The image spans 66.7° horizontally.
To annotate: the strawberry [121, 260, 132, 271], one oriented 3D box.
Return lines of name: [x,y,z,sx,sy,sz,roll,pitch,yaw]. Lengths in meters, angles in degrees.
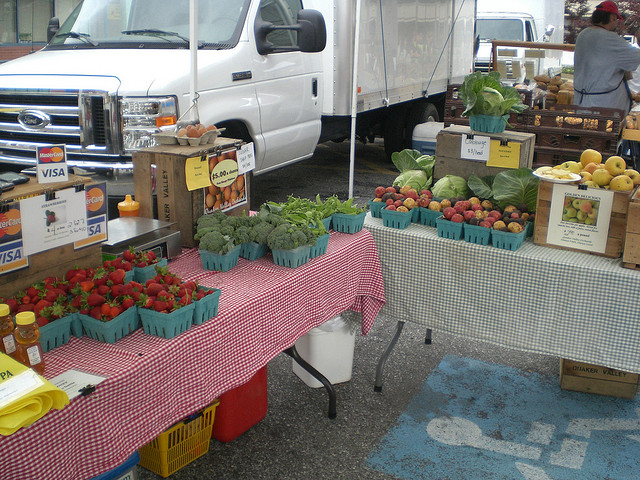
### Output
strawberry: [-0.904,0.119,2.262,0.019,0.020,0.047,2,-23,15]

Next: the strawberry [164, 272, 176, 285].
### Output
strawberry: [-0.684,0.175,2.210,0.033,0.036,0.047,3,41,2]

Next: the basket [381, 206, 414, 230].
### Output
basket: [0.515,-0.149,3.357,0.126,0.097,0.182,9,19,25]

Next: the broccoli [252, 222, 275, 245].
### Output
broccoli: [-0.325,-0.048,2.780,0.092,0.041,0.133,-4,43,-7]

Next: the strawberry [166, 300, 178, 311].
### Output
strawberry: [-0.616,0.270,2.020,0.037,0.041,0.046,-5,-5,1]

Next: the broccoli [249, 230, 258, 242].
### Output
broccoli: [-0.386,-0.026,2.756,0.038,0.052,0.024,-6,31,-5]

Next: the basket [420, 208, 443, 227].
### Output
basket: [0.762,-0.156,3.368,0.138,0.079,0.096,11,19,34]

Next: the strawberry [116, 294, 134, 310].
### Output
strawberry: [-0.814,0.256,2.039,0.048,0.031,0.063,16,12,-38]

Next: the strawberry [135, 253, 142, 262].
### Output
strawberry: [-0.882,0.086,2.361,0.023,0.014,0.030,12,57,13]

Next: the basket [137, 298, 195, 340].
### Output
basket: [-0.653,0.347,2.082,0.151,0.128,0.204,14,22,32]

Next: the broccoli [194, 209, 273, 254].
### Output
broccoli: [-0.499,-0.052,2.724,0.282,0.098,0.284,17,33,16]

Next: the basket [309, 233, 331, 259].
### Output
basket: [-0.003,0.037,2.918,0.100,0.079,0.141,21,34,35]

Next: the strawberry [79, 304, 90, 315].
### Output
strawberry: [-0.976,0.291,2.012,0.038,0.041,0.014,3,-24,-17]

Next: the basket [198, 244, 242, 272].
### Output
basket: [-0.561,0.091,2.685,0.127,0.098,0.184,7,14,22]

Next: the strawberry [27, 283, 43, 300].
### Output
strawberry: [-1.163,0.206,1.986,0.040,0.046,0.043,31,34,-4]

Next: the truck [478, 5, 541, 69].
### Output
truck: [5.025,-5.790,13.368,1.888,1.655,2.919,8,27,22]

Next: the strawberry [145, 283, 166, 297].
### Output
strawberry: [-0.706,0.206,2.076,0.067,0.044,0.052,-15,3,-16]

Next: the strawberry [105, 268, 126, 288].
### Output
strawberry: [-0.884,0.160,2.121,0.083,0.031,0.045,-41,58,-20]

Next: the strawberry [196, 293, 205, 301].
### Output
strawberry: [-0.525,0.243,2.126,0.024,0.023,0.040,9,25,26]

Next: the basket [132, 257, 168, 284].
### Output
basket: [-0.844,0.135,2.434,0.098,0.065,0.153,9,21,22]

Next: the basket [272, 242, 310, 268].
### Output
basket: [-0.183,0.084,2.753,0.125,0.098,0.179,13,22,34]

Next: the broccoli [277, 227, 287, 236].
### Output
broccoli: [-0.219,-0.049,2.727,0.028,0.020,0.055,24,35,18]

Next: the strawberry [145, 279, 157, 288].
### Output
strawberry: [-0.743,0.187,2.136,0.029,0.023,0.039,5,18,35]

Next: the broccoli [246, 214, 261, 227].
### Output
broccoli: [-0.404,-0.116,2.869,0.054,0.039,0.071,-5,22,-25]

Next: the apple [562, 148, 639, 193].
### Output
apple: [1.714,-0.440,2.992,0.417,0.175,0.420,15,28,35]

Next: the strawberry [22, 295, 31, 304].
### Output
strawberry: [-1.167,0.238,1.932,0.026,0.026,0.030,24,17,-21]

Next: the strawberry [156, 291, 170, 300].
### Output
strawberry: [-0.661,0.230,2.040,0.067,0.026,0.031,5,23,16]

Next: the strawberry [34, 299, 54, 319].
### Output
strawberry: [-1.094,0.273,1.923,0.051,0.073,0.041,4,37,15]

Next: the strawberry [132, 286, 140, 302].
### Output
strawberry: [-0.782,0.232,2.059,0.033,0.045,0.033,-41,80,-18]

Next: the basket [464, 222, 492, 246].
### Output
basket: [1.003,-0.038,3.115,0.159,0.103,0.117,7,21,24]

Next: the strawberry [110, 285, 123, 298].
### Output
strawberry: [-0.857,0.217,2.051,0.037,0.048,0.023,30,-11,-4]

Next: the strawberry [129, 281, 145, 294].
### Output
strawberry: [-0.791,0.196,2.110,0.037,0.036,0.070,-38,38,-29]
